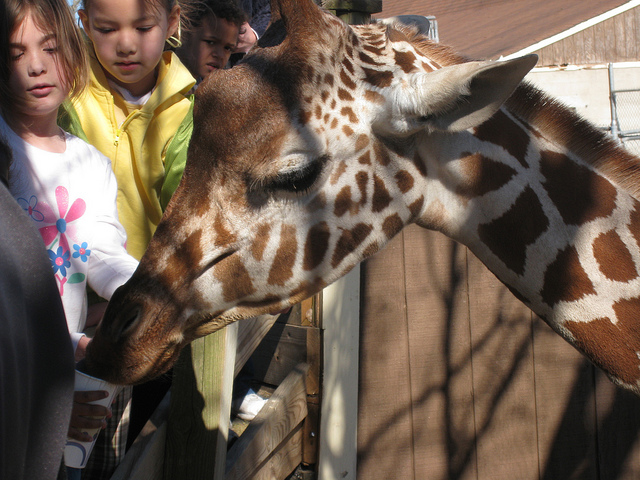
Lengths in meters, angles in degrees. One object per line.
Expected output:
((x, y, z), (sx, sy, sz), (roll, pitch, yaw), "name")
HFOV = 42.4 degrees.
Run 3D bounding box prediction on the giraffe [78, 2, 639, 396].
((0.374, 0.018, 4.150), (2.792, 1.406, 1.710), (8, 20, -34), "giraffe")
